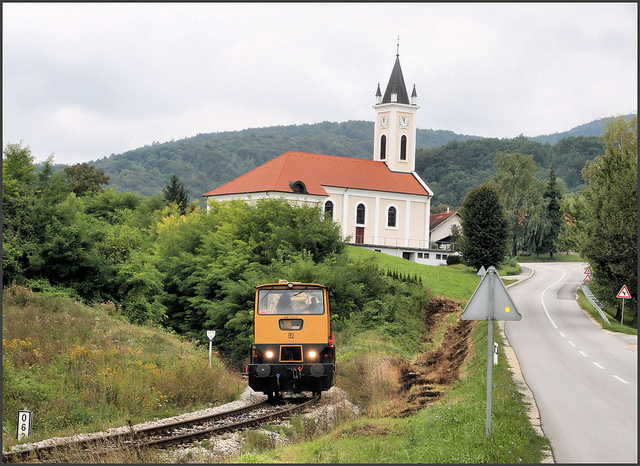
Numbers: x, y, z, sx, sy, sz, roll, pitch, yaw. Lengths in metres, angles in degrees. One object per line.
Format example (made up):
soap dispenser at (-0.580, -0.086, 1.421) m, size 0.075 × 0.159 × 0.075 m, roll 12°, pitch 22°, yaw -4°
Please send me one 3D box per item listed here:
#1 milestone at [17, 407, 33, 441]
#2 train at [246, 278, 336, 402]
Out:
milestone at (-8.487, 5.439, 17.810) m, size 0.376 × 0.854 × 0.659 m, roll 1°, pitch 3°, yaw -27°
train at (-0.901, 4.065, 24.711) m, size 2.295 × 3.025 × 4.611 m, roll 0°, pitch -3°, yaw 2°
